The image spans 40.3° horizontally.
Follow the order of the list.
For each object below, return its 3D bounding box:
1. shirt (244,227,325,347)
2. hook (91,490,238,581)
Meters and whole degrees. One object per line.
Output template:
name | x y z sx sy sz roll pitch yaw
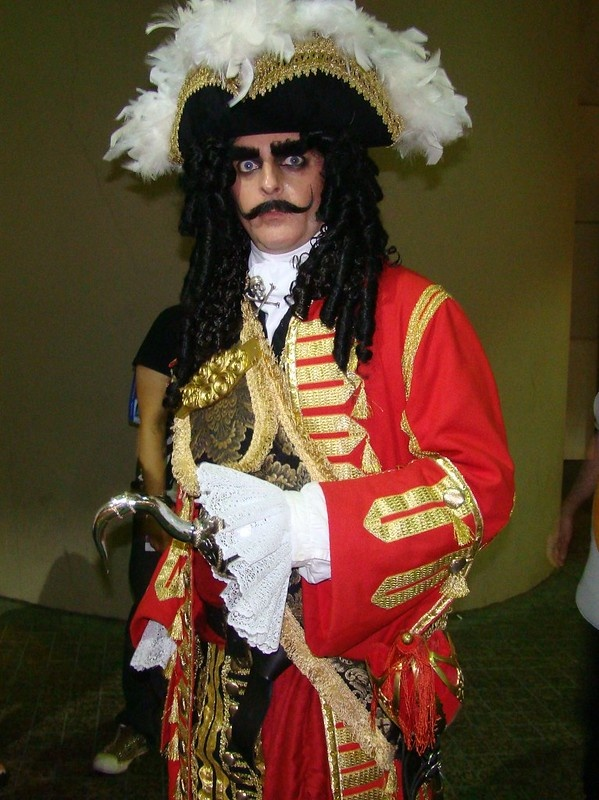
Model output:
shirt | -0.032 -0.263 1.898 0.159 0.252 0.058 4 -20 25
hook | -0.246 0.223 1.403 0.131 0.099 0.314 10 -3 34
